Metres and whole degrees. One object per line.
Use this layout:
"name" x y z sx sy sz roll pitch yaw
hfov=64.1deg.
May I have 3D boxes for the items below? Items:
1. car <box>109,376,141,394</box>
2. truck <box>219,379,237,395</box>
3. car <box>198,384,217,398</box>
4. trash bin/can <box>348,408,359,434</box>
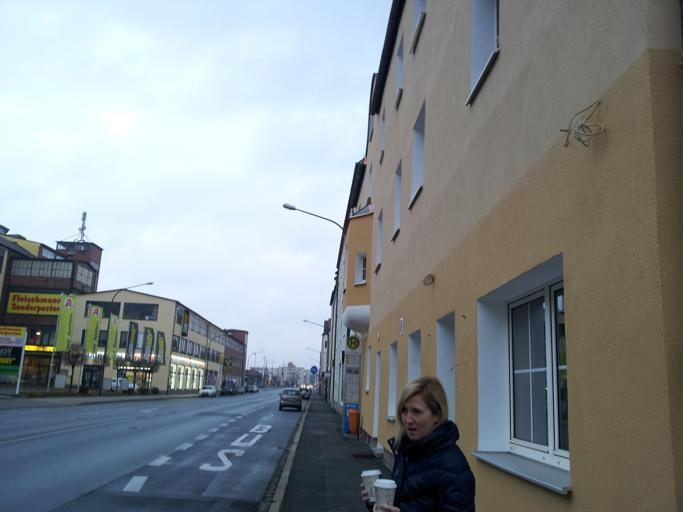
"car" -25.809 15.018 63.584 2.466 1.682 1.808 -2 -5 10
"truck" -18.446 21.054 88.118 1.633 2.161 3.239 1 -6 -1
"car" -18.833 18.970 77.021 1.722 1.734 5.122 4 -18 -6
"trash bin/can" 0.437 6.145 20.396 0.506 1.118 0.654 1 -17 -2
